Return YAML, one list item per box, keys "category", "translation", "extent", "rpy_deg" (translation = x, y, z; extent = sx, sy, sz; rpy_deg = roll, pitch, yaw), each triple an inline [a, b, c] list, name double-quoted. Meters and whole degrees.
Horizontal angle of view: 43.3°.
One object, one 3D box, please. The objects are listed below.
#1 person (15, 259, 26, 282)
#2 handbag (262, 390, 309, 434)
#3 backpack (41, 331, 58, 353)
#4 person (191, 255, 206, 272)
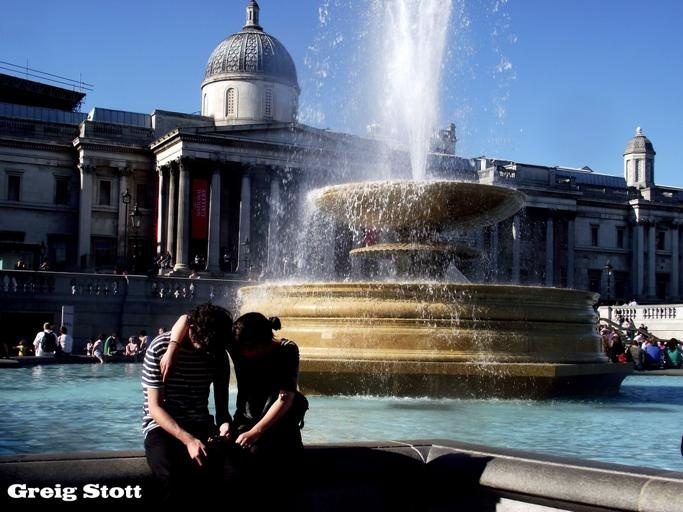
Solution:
- category: "person"
  translation: [-10.393, 0.489, 27.865]
  extent: [0.479, 0.744, 0.401]
  rpy_deg: [-1, -4, -8]
- category: "handbag"
  translation: [-0.330, 1.033, 5.569]
  extent: [0.278, 0.283, 0.196]
  rpy_deg: [-13, 25, -41]
- category: "backpack"
  translation: [-6.711, 1.993, 19.818]
  extent: [0.361, 0.498, 0.364]
  rpy_deg: [3, -1, -18]
- category: "person"
  translation: [-7.339, 0.375, 44.273]
  extent: [0.738, 0.885, 0.759]
  rpy_deg: [2, -10, -16]
